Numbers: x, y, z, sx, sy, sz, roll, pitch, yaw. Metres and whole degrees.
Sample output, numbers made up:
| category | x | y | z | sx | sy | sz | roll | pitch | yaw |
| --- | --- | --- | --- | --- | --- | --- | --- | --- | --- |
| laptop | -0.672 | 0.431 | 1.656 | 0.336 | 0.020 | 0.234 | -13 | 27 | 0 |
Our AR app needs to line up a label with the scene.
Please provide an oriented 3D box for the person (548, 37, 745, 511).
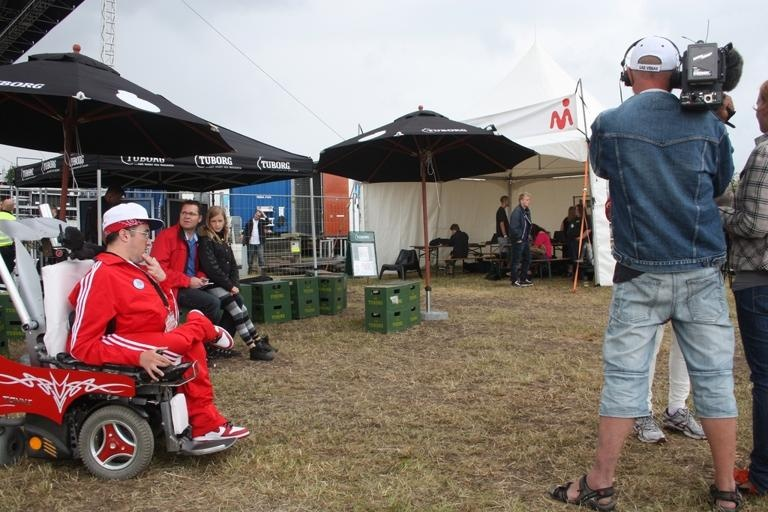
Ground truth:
| category | x | y | z | sx | sy | sz | roll | pitch | yaw |
| --- | --- | --- | --- | --- | --- | --- | --- | --- | --- |
| person | 1.866 | 0.118 | 4.186 | 1.038 | 3.106 | 0.761 | 1 | 11 | 15 |

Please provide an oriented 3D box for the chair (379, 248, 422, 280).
| category | x | y | z | sx | sy | sz | roll | pitch | yaw |
| --- | --- | --- | --- | --- | --- | --- | --- | --- | --- |
| chair | 0.408 | 0.167 | 15.652 | 0.831 | 0.771 | 0.857 | -2 | -4 | 40 |

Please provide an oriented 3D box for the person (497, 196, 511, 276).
| category | x | y | z | sx | sy | sz | roll | pitch | yaw |
| --- | --- | --- | --- | --- | --- | --- | --- | --- | --- |
| person | 3.142 | -0.633 | 16.163 | 0.421 | 1.855 | 0.666 | 5 | 20 | 22 |

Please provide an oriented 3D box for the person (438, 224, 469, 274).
| category | x | y | z | sx | sy | sz | roll | pitch | yaw |
| --- | --- | --- | --- | --- | --- | --- | --- | --- | --- |
| person | 2.026 | -0.262 | 17.268 | 0.625 | 1.331 | 0.742 | -19 | 34 | -25 |

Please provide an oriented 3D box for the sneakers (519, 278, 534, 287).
| category | x | y | z | sx | sy | sz | roll | pitch | yaw |
| --- | --- | --- | --- | --- | --- | --- | --- | --- | --- |
| sneakers | 3.169 | 0.566 | 13.764 | 0.445 | 0.190 | 0.146 | -2 | 4 | -19 |

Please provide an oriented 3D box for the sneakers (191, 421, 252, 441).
| category | x | y | z | sx | sy | sz | roll | pitch | yaw |
| --- | --- | --- | --- | --- | --- | --- | --- | --- | --- |
| sneakers | -1.259 | 1.351 | 4.913 | 0.422 | 0.173 | 0.140 | -1 | -2 | -9 |

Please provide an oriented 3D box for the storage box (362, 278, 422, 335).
| category | x | y | z | sx | sy | sz | roll | pitch | yaw |
| --- | --- | --- | --- | --- | --- | --- | --- | --- | --- |
| storage box | 0.074 | 0.707 | 8.915 | 0.610 | 0.673 | 1.022 | -4 | -2 | 34 |

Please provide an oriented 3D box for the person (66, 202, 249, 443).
| category | x | y | z | sx | sy | sz | roll | pitch | yaw |
| --- | --- | --- | --- | --- | --- | --- | --- | --- | --- |
| person | -1.714 | 0.538 | 4.857 | 1.462 | 1.800 | 0.883 | 6 | -1 | -16 |

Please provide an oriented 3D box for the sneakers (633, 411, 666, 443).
| category | x | y | z | sx | sy | sz | roll | pitch | yaw |
| --- | --- | --- | --- | --- | --- | --- | --- | --- | --- |
| sneakers | 2.130 | 1.395 | 5.101 | 0.153 | 0.163 | 0.359 | 0 | -8 | -7 |

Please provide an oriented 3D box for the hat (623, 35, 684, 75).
| category | x | y | z | sx | sy | sz | roll | pitch | yaw |
| --- | --- | --- | --- | --- | --- | --- | --- | --- | --- |
| hat | 1.861 | -1.360 | 4.425 | 0.350 | 0.249 | 0.509 | 10 | 4 | 14 |

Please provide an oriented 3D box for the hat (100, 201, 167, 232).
| category | x | y | z | sx | sy | sz | roll | pitch | yaw |
| --- | --- | --- | --- | --- | --- | --- | --- | --- | --- |
| hat | -1.937 | -0.294 | 4.862 | 0.371 | 0.186 | 0.264 | -8 | 6 | -27 |

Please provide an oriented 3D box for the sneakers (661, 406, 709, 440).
| category | x | y | z | sx | sy | sz | roll | pitch | yaw |
| --- | --- | --- | --- | --- | --- | --- | --- | --- | --- |
| sneakers | 2.427 | 1.349 | 5.095 | 0.344 | 0.166 | 0.161 | 8 | 8 | 26 |

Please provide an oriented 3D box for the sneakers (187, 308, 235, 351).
| category | x | y | z | sx | sy | sz | roll | pitch | yaw |
| --- | --- | --- | --- | --- | --- | --- | --- | --- | --- |
| sneakers | -1.407 | 0.541 | 4.882 | 0.175 | 0.183 | 0.495 | -33 | 10 | 0 |

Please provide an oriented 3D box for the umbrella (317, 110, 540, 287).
| category | x | y | z | sx | sy | sz | roll | pitch | yaw |
| --- | --- | --- | --- | --- | --- | --- | --- | --- | --- |
| umbrella | 0.593 | -0.911 | 9.246 | 3.093 | 2.308 | 2.847 | -1 | -8 | -5 |

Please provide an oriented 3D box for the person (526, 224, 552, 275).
| category | x | y | z | sx | sy | sz | roll | pitch | yaw |
| --- | --- | --- | --- | --- | --- | --- | --- | --- | --- |
| person | 3.618 | -0.137 | 15.049 | 0.719 | 1.208 | 0.489 | 4 | -10 | -8 |
